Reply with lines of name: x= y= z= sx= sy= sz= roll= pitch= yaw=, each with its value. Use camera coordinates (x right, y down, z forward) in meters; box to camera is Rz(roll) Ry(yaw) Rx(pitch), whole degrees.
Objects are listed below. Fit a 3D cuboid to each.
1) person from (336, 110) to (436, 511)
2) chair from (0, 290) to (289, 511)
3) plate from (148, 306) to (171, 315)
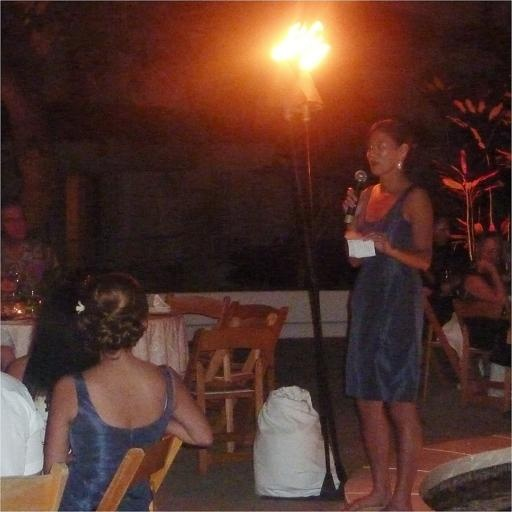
person: x=0.493 y=0.260 z=2.480 sx=0.314 sy=1.574 sz=0.384 roll=-7 pitch=4 yaw=-26
chair: x=-0.444 y=0.678 z=3.712 sx=1.171 sy=1.090 sz=0.860 roll=3 pitch=-7 yaw=-7
plate: x=-0.688 y=0.393 z=4.382 sx=0.160 sy=0.056 sz=0.050 roll=-1 pitch=0 yaw=-9
